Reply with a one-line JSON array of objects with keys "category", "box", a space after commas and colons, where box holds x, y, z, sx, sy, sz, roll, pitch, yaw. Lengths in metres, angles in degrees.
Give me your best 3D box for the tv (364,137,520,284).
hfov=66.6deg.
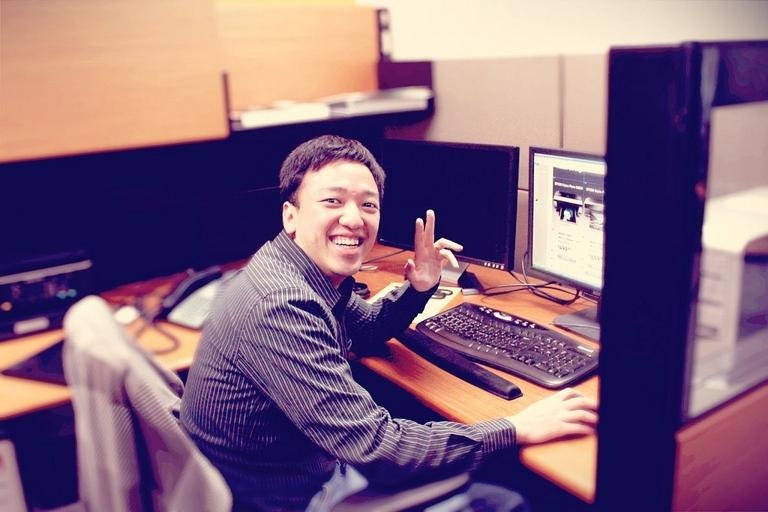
[{"category": "tv", "box": [0.219, -0.164, 2.023, 0.058, 0.348, 0.531, -14, 21, -43]}]
